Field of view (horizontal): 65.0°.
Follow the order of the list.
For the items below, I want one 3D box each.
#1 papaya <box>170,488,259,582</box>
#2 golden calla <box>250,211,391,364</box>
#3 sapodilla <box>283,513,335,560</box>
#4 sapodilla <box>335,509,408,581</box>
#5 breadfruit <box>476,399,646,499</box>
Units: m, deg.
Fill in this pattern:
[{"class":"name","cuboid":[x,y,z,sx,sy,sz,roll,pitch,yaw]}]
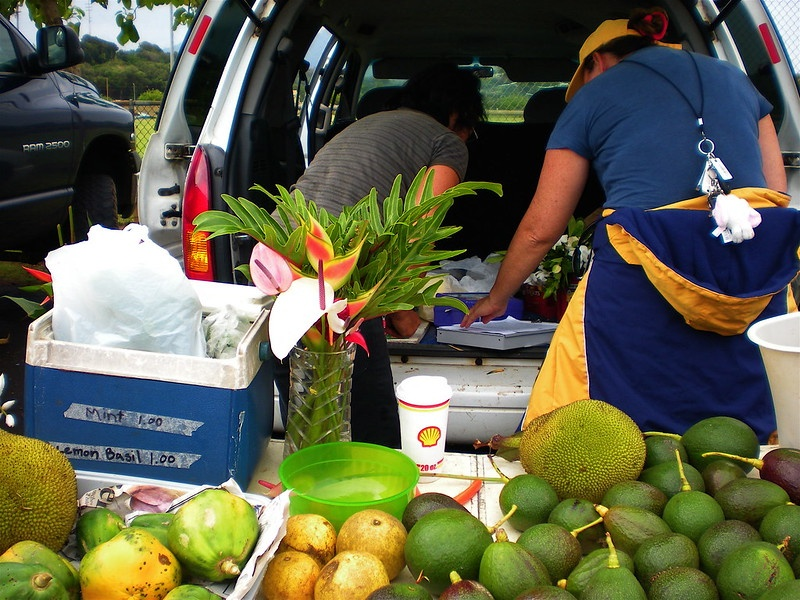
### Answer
[{"class":"papaya","cuboid":[-0.304,0.387,1.032,0.133,0.113,0.101,14,23,14]},{"class":"golden calla","cuboid":[-0.143,-0.018,1.185,0.181,0.315,0.204,8,19,20]},{"class":"sapodilla","cuboid":[-0.159,0.410,1.119,0.080,0.063,0.066,-25,75,-48]},{"class":"sapodilla","cuboid":[-0.056,0.416,1.132,0.111,0.135,0.112,-28,66,-31]},{"class":"breadfruit","cuboid":[0.338,0.241,1.379,0.312,0.188,0.260,-2,17,-6]}]
